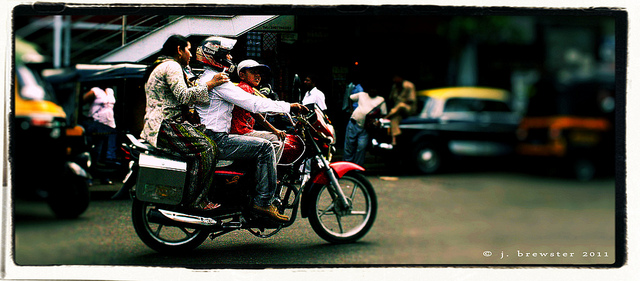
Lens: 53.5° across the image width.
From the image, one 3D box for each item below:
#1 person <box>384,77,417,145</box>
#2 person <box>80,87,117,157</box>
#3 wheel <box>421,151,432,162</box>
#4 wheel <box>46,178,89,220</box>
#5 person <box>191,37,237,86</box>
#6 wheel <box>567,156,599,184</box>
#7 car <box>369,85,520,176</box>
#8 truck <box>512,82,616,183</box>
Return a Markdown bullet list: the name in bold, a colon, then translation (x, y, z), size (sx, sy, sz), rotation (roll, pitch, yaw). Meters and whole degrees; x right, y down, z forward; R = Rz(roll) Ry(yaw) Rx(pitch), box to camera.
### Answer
- **person**: translation (1.614, -0.581, 12.638), size (0.633, 1.384, 0.817), rotation (6, 10, 4)
- **person**: translation (-4.698, -0.422, 13.529), size (0.609, 1.380, 0.795), rotation (-1, 11, -32)
- **wheel**: translation (2.248, 0.327, 13.333), size (0.236, 0.193, 0.043), rotation (-3, -1, -11)
- **wheel**: translation (-5.179, 1.165, 12.959), size (0.873, 0.872, 0.181), rotation (6, 10, 10)
- **person**: translation (-2.121, -1.586, 12.252), size (1.048, 0.908, 0.785), rotation (-14, 10, -10)
- **wheel**: translation (5.761, 0.611, 13.914), size (0.688, 0.656, 0.623), rotation (-9, 3, 4)
- **car**: translation (2.607, -0.206, 12.886), size (3.038, 1.134, 1.583), rotation (-1, 3, -4)
- **truck**: translation (4.963, -0.322, 12.962), size (2.166, 1.630, 2.716), rotation (0, 2, 0)
